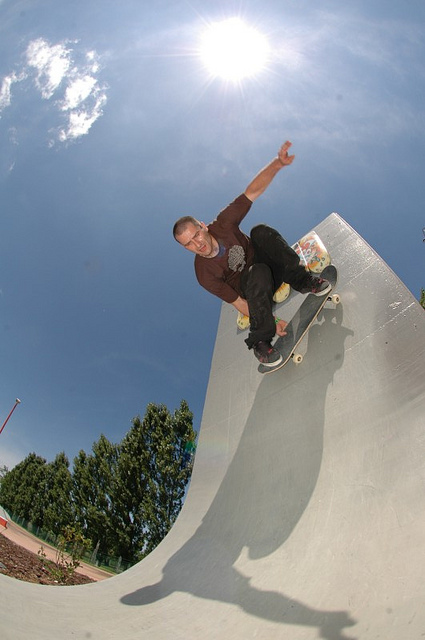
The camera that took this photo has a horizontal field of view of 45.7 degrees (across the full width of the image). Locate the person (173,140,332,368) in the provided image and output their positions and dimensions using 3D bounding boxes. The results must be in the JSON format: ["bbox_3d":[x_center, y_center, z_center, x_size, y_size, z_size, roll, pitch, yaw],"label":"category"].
[{"bbox_3d":[0.343,-0.567,4.932,0.913,1.473,1.773,-13,54,59],"label":"person"}]
